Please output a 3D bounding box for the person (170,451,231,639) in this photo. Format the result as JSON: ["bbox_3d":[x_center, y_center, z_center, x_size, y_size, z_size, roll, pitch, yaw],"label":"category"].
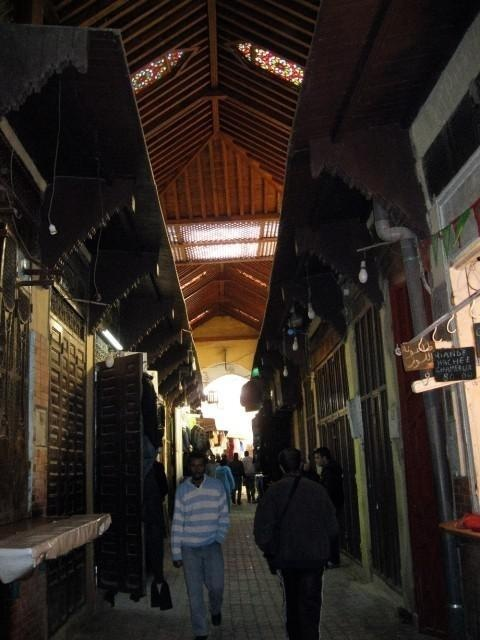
[{"bbox_3d":[-0.307,1.834,4.035,0.454,1.446,0.645,-11,-17,34],"label":"person"}]

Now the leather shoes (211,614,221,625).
[{"bbox_3d":[-0.200,2.580,4.202,0.057,0.110,0.142,1,-28,-5],"label":"leather shoes"}]

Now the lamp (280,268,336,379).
[{"bbox_3d":[1.216,0.072,8.605,0.375,0.558,1.876,-14,-45,-6],"label":"lamp"}]
